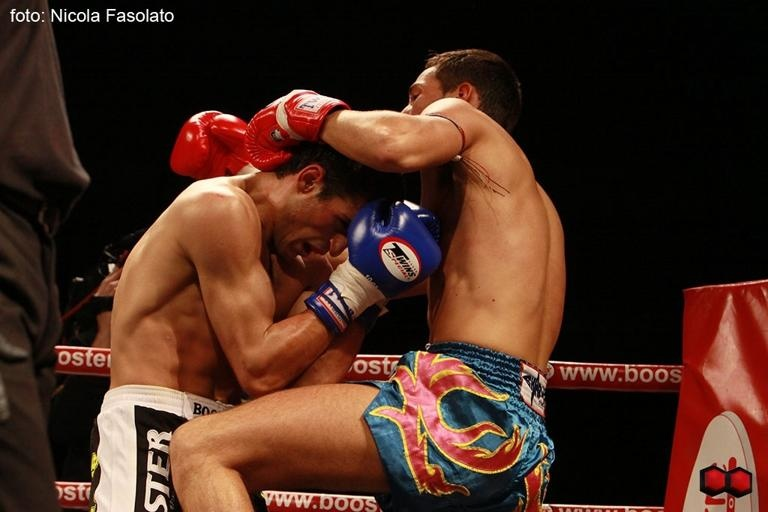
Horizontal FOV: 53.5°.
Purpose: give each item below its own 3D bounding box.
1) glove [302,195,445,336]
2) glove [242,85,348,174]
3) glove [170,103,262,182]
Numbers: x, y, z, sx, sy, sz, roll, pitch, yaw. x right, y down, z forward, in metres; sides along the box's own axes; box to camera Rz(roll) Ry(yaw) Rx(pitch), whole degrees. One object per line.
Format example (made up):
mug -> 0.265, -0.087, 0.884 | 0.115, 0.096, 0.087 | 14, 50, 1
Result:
glove -> -0.062, -0.033, 3.256 | 0.586, 0.449, 0.283 | -36, 16, 8
glove -> -0.381, -0.565, 3.306 | 0.393, 0.313, 0.179 | -39, 3, 11
glove -> -0.767, -0.440, 3.472 | 0.315, 0.442, 0.203 | 23, -27, -26
